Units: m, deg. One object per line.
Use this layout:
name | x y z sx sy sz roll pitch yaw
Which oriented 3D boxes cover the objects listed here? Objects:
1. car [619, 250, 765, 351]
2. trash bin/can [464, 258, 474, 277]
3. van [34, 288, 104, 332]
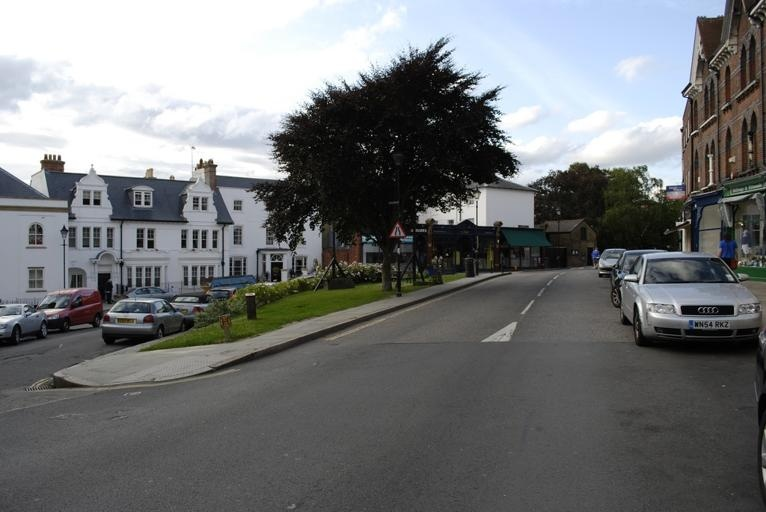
car | 7.121 1.051 15.327 2.424 1.996 2.997 -2 5 11
trash bin/can | 5.945 0.877 44.564 0.530 1.184 0.713 -2 5 1
van | -15.818 2.725 33.114 1.655 1.605 3.128 -3 -6 16
